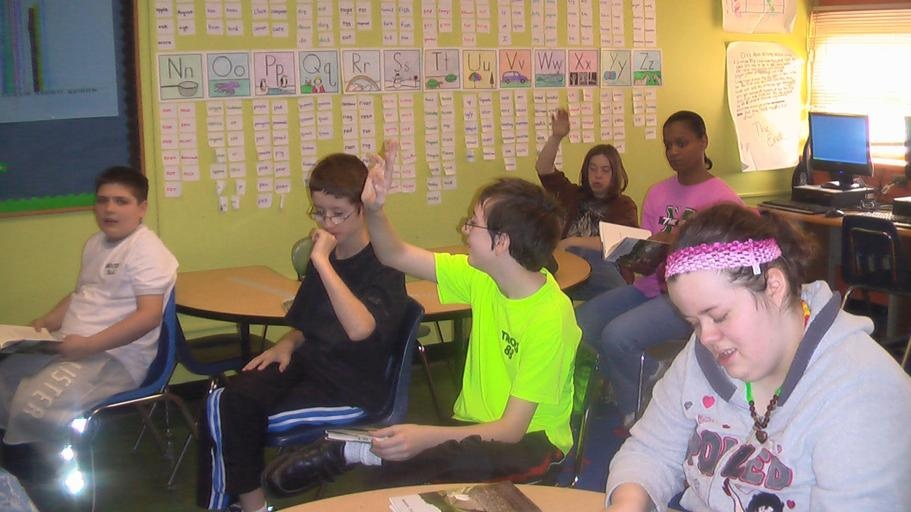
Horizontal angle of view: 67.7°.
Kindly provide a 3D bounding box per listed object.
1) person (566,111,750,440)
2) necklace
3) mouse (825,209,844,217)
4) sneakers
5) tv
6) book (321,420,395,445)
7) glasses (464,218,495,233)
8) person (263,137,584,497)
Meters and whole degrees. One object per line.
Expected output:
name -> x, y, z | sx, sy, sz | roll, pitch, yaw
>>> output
person -> 1.336, 0.089, 4.588 | 1.238, 1.991, 0.971 | -12, 13, -8
necklace -> 1.199, 0.446, 2.573 | 0.125, 0.477, 0.303 | 3, 2, -30
mouse -> 3.165, -0.365, 5.729 | 0.125, 0.036, 0.069 | -3, 15, 15
sneakers -> -0.641, 0.901, 2.943 | 0.386, 0.125, 0.219 | -13, 21, -20
tv -> 3.375, -0.947, 6.007 | 0.256, 0.655, 0.697 | -19, 17, -25
book -> -0.441, 0.770, 2.960 | 0.203, 0.043, 0.197 | 2, 2, 26
glasses -> 0.086, -0.129, 3.068 | 0.092, 0.024, 0.083 | 11, 11, -4
person -> -0.023, 0.235, 2.997 | 0.918, 1.471, 0.799 | 2, 8, 25
